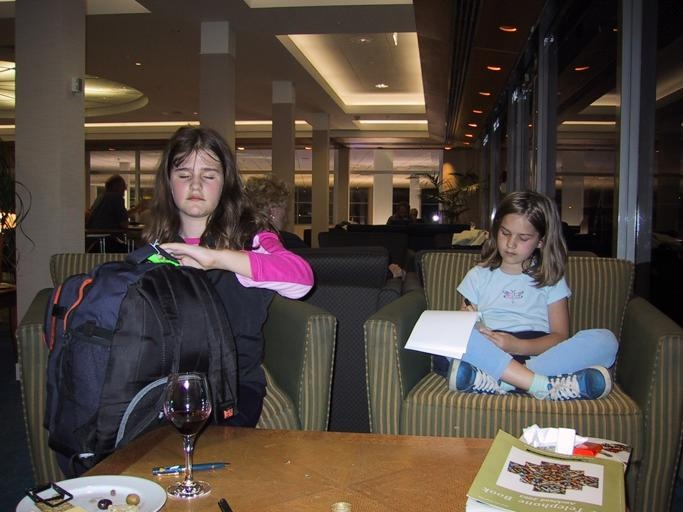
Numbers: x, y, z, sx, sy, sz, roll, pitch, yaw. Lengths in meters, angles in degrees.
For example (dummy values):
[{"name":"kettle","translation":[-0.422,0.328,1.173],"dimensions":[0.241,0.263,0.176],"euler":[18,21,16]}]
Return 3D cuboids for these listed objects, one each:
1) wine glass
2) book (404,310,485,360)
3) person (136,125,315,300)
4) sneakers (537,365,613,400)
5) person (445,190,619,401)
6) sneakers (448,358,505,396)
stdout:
[{"name":"wine glass","translation":[-0.413,0.458,1.420],"dimensions":[0.116,0.291,0.216],"euler":[1,1,-20]},{"name":"book","translation":[0.403,0.308,2.156],"dimensions":[0.240,0.160,0.173],"euler":[2,1,30]},{"name":"person","translation":[-0.572,-0.138,2.135],"dimensions":[0.754,0.787,0.464],"euler":[-4,-2,-1]},{"name":"sneakers","translation":[0.913,0.513,2.194],"dimensions":[0.340,0.136,0.142],"euler":[-5,-11,12]},{"name":"person","translation":[0.793,0.123,2.397],"dimensions":[0.780,0.934,0.817],"euler":[1,-4,18]},{"name":"sneakers","translation":[0.587,0.512,2.243],"dimensions":[0.278,0.112,0.111],"euler":[12,0,-35]}]
